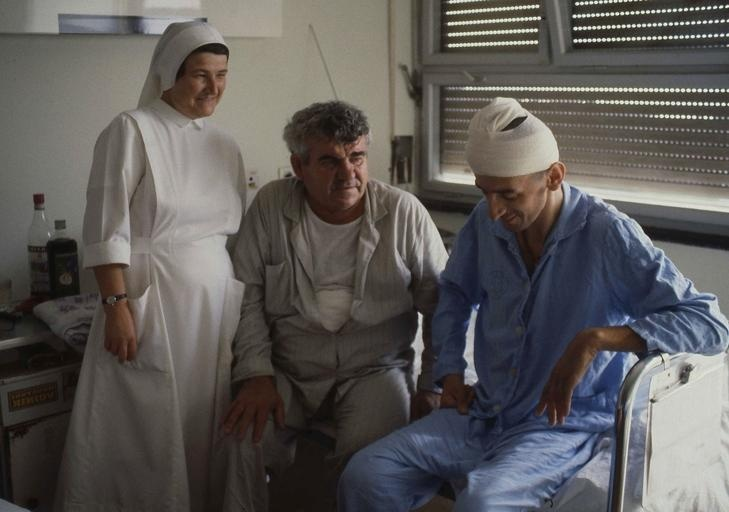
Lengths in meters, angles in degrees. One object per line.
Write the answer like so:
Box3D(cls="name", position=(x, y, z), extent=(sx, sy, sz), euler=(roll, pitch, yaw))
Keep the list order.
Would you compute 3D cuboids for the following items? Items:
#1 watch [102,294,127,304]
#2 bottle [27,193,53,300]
Box3D(cls="watch", position=(-0.900, 0.156, 2.265), extent=(0.085, 0.044, 0.039), euler=(0, 9, -10))
Box3D(cls="bottle", position=(-1.433, -0.049, 2.783), extent=(0.098, 0.445, 0.189), euler=(-3, 10, -29))
